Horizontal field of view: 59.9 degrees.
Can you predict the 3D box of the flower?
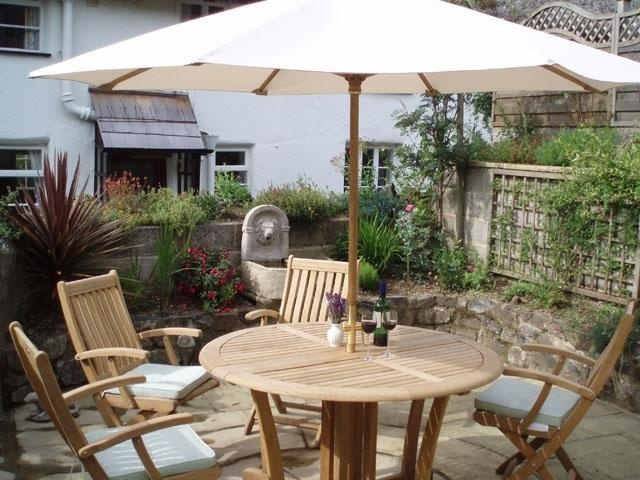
[{"bbox_3d":[-1.381,0.476,6.815,0.736,0.801,0.542,6,-19,-25],"label":"flower"}]
